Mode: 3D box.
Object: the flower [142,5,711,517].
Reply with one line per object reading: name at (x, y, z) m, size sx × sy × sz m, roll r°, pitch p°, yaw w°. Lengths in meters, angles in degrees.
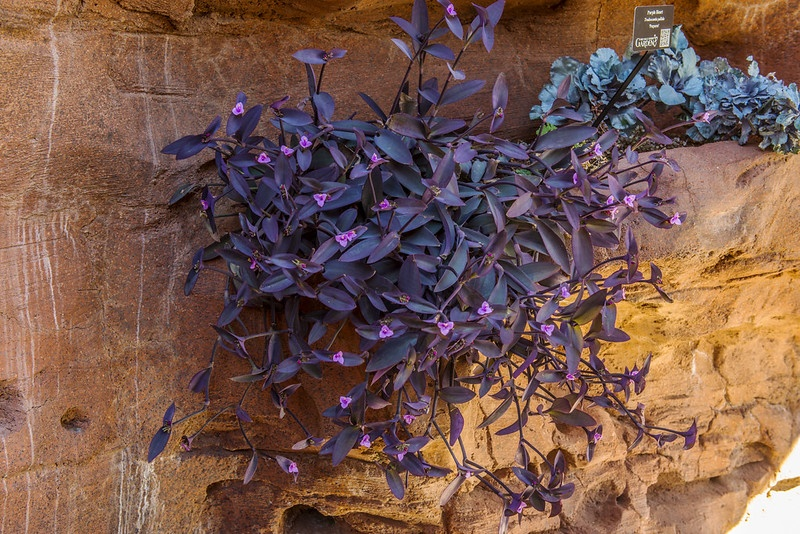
flower at (0.074, -0.116, 4.987) m, size 1.840 × 2.196 × 1.000 m, roll -10°, pitch -23°, yaw -1°
